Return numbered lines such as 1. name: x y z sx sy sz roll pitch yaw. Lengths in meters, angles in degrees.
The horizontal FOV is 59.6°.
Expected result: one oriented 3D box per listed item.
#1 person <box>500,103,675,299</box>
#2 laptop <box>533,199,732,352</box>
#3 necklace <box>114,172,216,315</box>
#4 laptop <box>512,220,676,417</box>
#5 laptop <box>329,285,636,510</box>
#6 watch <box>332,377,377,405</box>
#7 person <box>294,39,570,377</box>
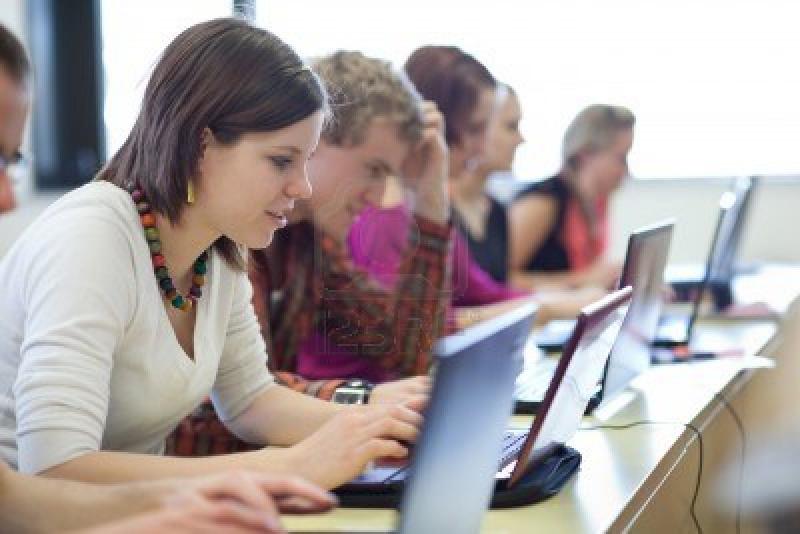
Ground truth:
1. person: 0.599 -0.249 2.678 0.577 1.000 0.594 -2 7 4
2. laptop: 0.704 0.069 2.063 0.411 0.394 0.586 8 10 18
3. necklace: -0.463 -0.040 1.358 0.047 0.218 0.173 -13 -2 30
4. laptop: 0.473 0.094 1.684 0.403 0.351 0.507 -3 3 23
5. laptop: 0.155 0.238 1.357 0.471 0.283 0.502 5 7 29
6. watch: -0.095 0.260 1.474 0.048 0.062 0.070 -15 1 -39
7. person: 0.142 -0.208 2.801 0.923 1.515 0.985 1 6 2
